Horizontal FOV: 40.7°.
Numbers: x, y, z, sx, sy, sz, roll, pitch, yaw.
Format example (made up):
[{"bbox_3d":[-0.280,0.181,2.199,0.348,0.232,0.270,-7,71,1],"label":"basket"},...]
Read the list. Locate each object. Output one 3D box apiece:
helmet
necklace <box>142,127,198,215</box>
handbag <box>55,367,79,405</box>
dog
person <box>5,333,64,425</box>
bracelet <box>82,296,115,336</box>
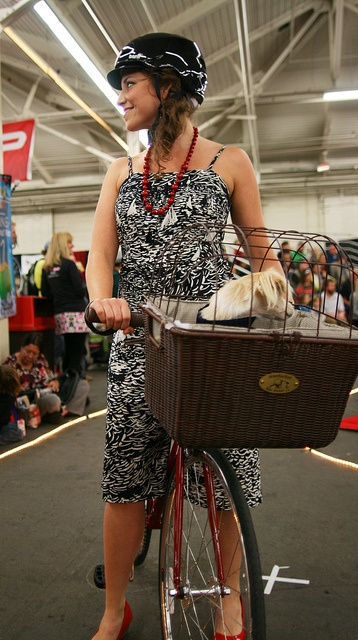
[{"bbox_3d":[-0.057,-0.571,1.165,0.207,0.167,0.155,-17,21,-11],"label":"helmet"},{"bbox_3d":[-0.020,-0.348,1.106,0.134,0.214,0.114,0,8,-9],"label":"necklace"},{"bbox_3d":[-1.122,0.663,4.868,0.188,0.341,0.074,-17,-33,38],"label":"handbag"},{"bbox_3d":[0.121,-0.033,0.731,0.198,0.097,0.076,5,-8,-13],"label":"dog"},{"bbox_3d":[-1.388,0.524,4.660,0.491,0.856,0.529,-1,8,-13],"label":"person"},{"bbox_3d":[-0.166,-0.007,0.974,0.024,0.067,0.067,-13,52,-49],"label":"bracelet"}]
